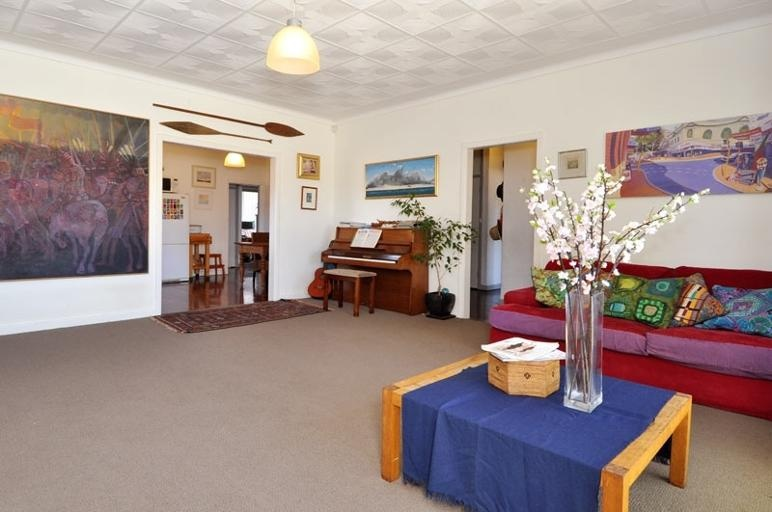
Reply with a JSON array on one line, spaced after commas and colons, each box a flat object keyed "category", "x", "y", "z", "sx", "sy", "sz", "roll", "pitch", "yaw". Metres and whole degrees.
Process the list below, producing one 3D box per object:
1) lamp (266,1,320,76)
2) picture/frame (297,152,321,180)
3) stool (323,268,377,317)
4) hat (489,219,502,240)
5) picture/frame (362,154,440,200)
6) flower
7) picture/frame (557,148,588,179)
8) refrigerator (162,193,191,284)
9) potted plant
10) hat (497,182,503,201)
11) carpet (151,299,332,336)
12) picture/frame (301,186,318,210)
[{"category": "lamp", "x": -0.815, "y": -1.833, "z": 4.196, "sx": 0.403, "sy": 0.443, "sz": 0.314, "roll": -3, "pitch": 10, "yaw": -30}, {"category": "picture/frame", "x": -1.336, "y": -1.503, "z": 8.169, "sx": 0.038, "sy": 0.450, "sz": 0.507, "roll": 7, "pitch": 6, "yaw": 44}, {"category": "stool", "x": -0.556, "y": 0.529, "z": 7.242, "sx": 0.730, "sy": 0.600, "sz": 0.405, "roll": 5, "pitch": 4, "yaw": 40}, {"category": "hat", "x": 1.982, "y": -0.457, "z": 8.802, "sx": 0.109, "sy": 0.335, "sz": 0.237, "roll": 2, "pitch": 8, "yaw": 21}, {"category": "picture/frame", "x": 0.211, "y": -1.205, "z": 7.562, "sx": 1.405, "sy": 0.674, "sz": 0.124, "roll": 9, "pitch": 12, "yaw": 42}, {"category": "flower", "x": 1.587, "y": 0.117, "z": 3.959, "sx": 0.844, "sy": 1.594, "sz": 2.075, "roll": 4, "pitch": 9, "yaw": 17}, {"category": "picture/frame", "x": 2.266, "y": -1.100, "z": 5.852, "sx": 0.377, "sy": 0.416, "sz": 0.029, "roll": 5, "pitch": -1, "yaw": 39}, {"category": "refrigerator", "x": -4.189, "y": -0.352, "z": 9.614, "sx": 0.550, "sy": 1.742, "sz": 0.286, "roll": -4, "pitch": 11, "yaw": -32}, {"category": "potted plant", "x": 0.659, "y": -0.002, "z": 7.071, "sx": 1.086, "sy": 1.678, "sz": 0.643, "roll": 10, "pitch": 12, "yaw": 42}, {"category": "hat", "x": 2.144, "y": -1.207, "z": 9.191, "sx": 0.106, "sy": 0.258, "sz": 0.206, "roll": 1, "pitch": 9, "yaw": -2}, {"category": "carpet", "x": -2.063, "y": 0.837, "z": 6.807, "sx": 2.075, "sy": 0.046, "sz": 1.183, "roll": -5, "pitch": 10, "yaw": -38}, {"category": "picture/frame", "x": -1.327, "y": -0.979, "z": 8.213, "sx": 0.034, "sy": 0.490, "sz": 0.426, "roll": 5, "pitch": 2, "yaw": 42}]
